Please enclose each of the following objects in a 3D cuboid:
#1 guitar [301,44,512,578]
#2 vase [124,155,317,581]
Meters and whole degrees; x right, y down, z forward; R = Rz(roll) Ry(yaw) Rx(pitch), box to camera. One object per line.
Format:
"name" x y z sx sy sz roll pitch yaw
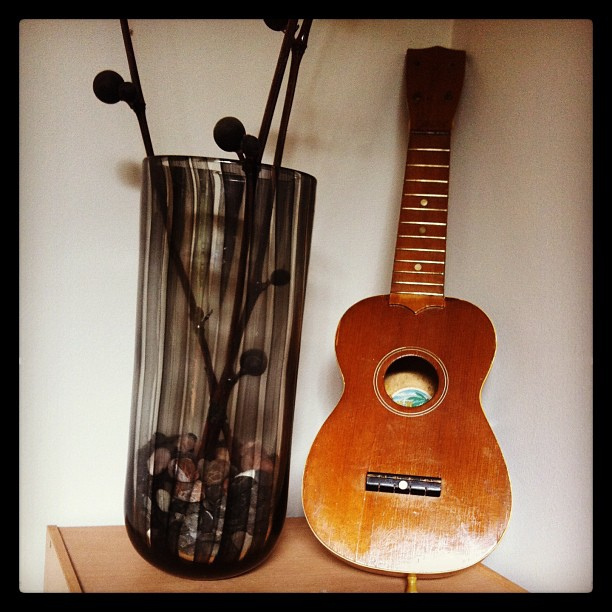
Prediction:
"guitar" 0.179 -0.019 1.345 0.347 0.931 0.378 1 9 0
"vase" -0.144 0.104 1.239 0.289 0.693 0.142 1 9 -1
